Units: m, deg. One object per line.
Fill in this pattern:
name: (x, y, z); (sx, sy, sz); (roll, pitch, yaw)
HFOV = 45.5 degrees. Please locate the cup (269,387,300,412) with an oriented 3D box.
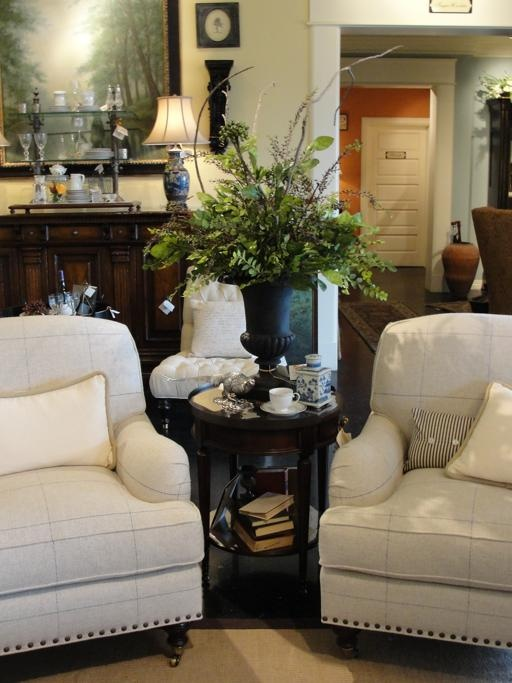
cup: (0.091, 0.164, 1.790); (0.112, 0.058, 0.068); (-10, 14, -38)

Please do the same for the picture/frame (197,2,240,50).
picture/frame: (-0.274, -2.262, 4.337); (0.318, 0.285, 0.025); (0, 6, -2)

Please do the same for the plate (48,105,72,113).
plate: (-1.431, -1.676, 4.388); (0.183, 0.054, 0.096); (0, 11, 8)

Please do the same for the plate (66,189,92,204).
plate: (-1.251, -1.016, 4.325); (0.121, 0.058, 0.117); (-1, 3, 2)

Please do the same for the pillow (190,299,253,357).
pillow: (-0.182, -0.064, 3.130); (0.319, 0.281, 0.107); (-3, -30, 2)

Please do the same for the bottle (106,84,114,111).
bottle: (-1.061, -1.758, 4.392); (0.054, 0.187, 0.102); (-4, 12, -9)

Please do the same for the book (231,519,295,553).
book: (0.026, 0.586, 1.837); (0.098, 0.022, 0.094); (-3, 17, -19)

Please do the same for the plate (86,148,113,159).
plate: (-1.143, -1.364, 4.438); (0.117, 0.043, 0.117); (3, 6, 31)

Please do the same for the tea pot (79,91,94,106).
tea pot: (-1.212, -1.750, 4.384); (0.092, 0.137, 0.119); (-4, 11, -9)

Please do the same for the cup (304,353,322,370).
cup: (0.173, 0.059, 1.852); (0.044, 0.036, 0.043); (2, 9, 0)

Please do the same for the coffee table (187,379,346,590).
coffee table: (0.028, 0.431, 2.018); (0.577, 0.613, 0.563); (0, 8, 3)

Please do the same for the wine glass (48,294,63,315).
wine glass: (-0.977, -0.189, 2.965); (0.066, 0.086, 0.186); (-6, 11, -18)

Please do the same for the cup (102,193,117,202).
cup: (-1.044, -1.022, 4.335); (0.104, 0.076, 0.192); (-5, 11, -15)

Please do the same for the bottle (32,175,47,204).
bottle: (-1.577, -1.107, 4.439); (0.105, 0.215, 0.384); (-6, 11, -18)
